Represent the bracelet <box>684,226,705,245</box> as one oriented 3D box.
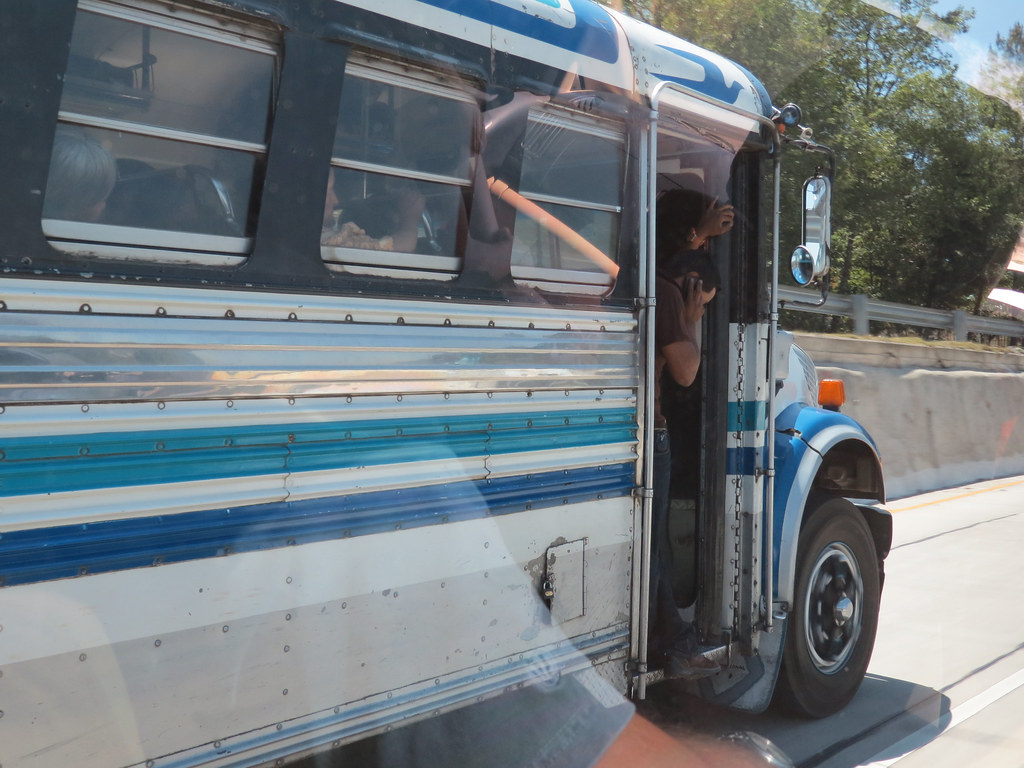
[{"bbox_3d":[0.979,-0.800,3.752,0.065,0.081,0.111,0,-9,-3],"label":"bracelet"}]
